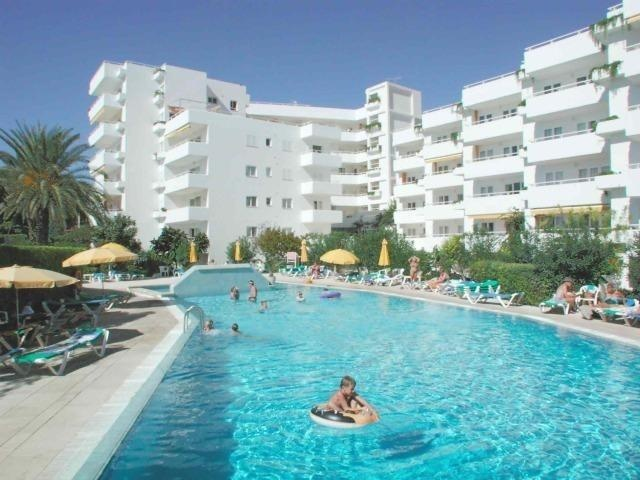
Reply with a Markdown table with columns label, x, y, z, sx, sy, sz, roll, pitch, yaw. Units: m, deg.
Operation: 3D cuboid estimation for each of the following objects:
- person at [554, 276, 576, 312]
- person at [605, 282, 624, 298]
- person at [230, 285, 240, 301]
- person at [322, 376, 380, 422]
| label | x | y | z | sx | sy | sz | roll | pitch | yaw |
| --- | --- | --- | --- | --- | --- | --- | --- | --- | --- |
| person | 10.130 | 2.262 | 18.774 | 0.778 | 1.349 | 1.301 | 5 | 5 | 29 |
| person | 11.456 | 1.958 | 17.710 | 0.600 | 0.548 | 0.763 | 4 | 4 | 16 |
| person | -4.592 | 2.927 | 24.833 | 0.428 | 0.794 | 0.690 | 2 | 4 | -9 |
| person | 0.689 | 3.573 | 9.986 | 1.092 | 0.585 | 1.032 | 0 | 3 | 16 |
